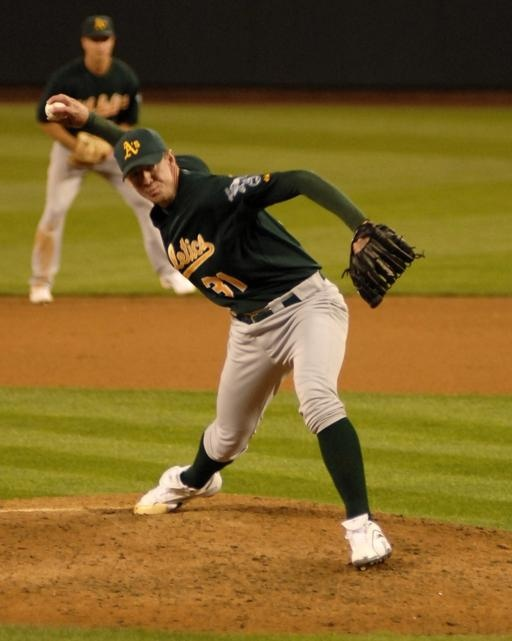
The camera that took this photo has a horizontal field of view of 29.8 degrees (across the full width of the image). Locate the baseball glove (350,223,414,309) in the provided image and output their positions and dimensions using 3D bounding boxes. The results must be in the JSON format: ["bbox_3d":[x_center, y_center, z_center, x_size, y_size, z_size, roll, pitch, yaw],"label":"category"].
[{"bbox_3d":[0.482,-0.211,3.660,0.181,0.328,0.254,-14,20,-43],"label":"baseball glove"}]

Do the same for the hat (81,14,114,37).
[{"bbox_3d":[-1.189,-2.178,7.195,0.206,0.108,0.256,-2,3,-1],"label":"hat"}]

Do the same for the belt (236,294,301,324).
[{"bbox_3d":[0.052,-0.074,4.052,0.192,0.041,0.141,-19,-6,-24],"label":"belt"}]

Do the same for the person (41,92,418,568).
[{"bbox_3d":[0.029,0.119,4.130,1.370,1.837,0.502,8,17,29],"label":"person"}]

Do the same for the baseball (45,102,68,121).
[{"bbox_3d":[-1.009,-1.036,4.744,0.110,0.065,0.077,-19,-13,13],"label":"baseball"}]
